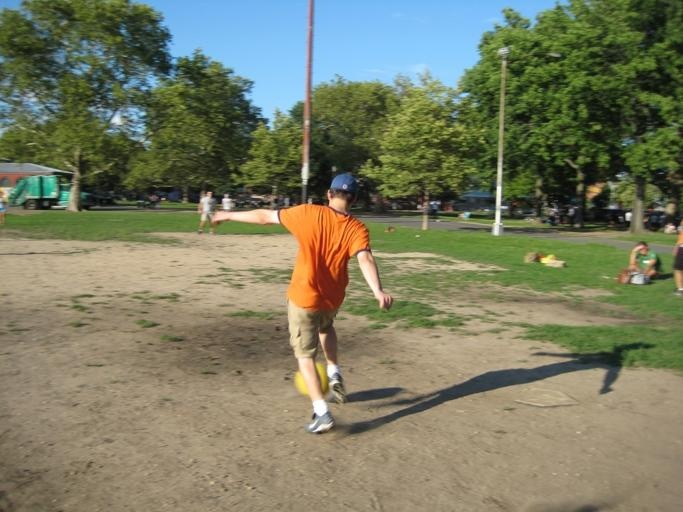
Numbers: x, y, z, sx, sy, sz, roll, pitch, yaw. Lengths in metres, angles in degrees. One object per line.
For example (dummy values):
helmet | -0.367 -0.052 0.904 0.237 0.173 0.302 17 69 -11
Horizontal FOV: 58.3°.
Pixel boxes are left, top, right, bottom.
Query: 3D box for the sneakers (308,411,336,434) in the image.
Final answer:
sneakers | -0.208 1.652 6.059 0.171 0.154 0.364 -10 -17 -46

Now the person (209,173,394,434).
person | -0.313 0.455 6.214 1.031 2.599 1.311 -4 19 -34

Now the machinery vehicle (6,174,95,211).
machinery vehicle | -24.207 -5.023 47.042 9.683 2.415 2.406 0 15 -2
